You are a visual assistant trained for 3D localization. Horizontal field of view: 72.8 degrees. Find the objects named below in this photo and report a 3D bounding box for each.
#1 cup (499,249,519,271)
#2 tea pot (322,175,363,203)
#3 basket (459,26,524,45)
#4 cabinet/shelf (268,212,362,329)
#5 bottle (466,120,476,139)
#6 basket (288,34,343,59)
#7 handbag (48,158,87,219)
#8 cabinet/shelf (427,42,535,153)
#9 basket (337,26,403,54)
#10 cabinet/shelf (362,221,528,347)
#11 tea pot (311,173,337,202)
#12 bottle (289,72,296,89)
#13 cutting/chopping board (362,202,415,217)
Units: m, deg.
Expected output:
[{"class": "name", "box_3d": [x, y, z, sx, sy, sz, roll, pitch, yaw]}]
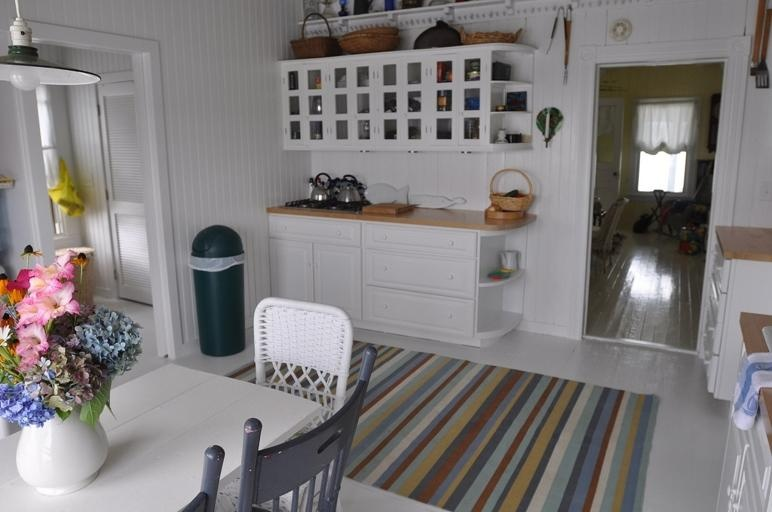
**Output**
[{"class": "cup", "box_3d": [1.159, 0.042, 4.803, 0.124, 0.148, 0.213, 6, 8, 38]}, {"class": "tea pot", "box_3d": [-0.441, -0.685, 5.365, 0.406, 0.283, 0.275, 3, 11, 21]}, {"class": "basket", "box_3d": [0.894, -1.881, 4.507, 0.509, 0.140, 0.174, 2, 12, 10]}, {"class": "cabinet/shelf", "box_3d": [-0.571, 0.075, 4.515, 1.082, 1.005, 0.548, 3, 7, 24]}, {"class": "bottle", "box_3d": [0.753, -1.114, 4.588, 0.127, 0.175, 0.020, 5, 14, 24]}, {"class": "basket", "box_3d": [-0.720, -1.987, 5.138, 0.345, 0.134, 0.278, 5, 13, 31]}, {"class": "handbag", "box_3d": [-3.462, -0.737, 5.648, 0.295, 0.601, 0.133, -7, 14, -29]}, {"class": "cabinet/shelf", "box_3d": [0.812, -1.420, 4.613, 0.918, 0.859, 0.357, 5, 13, 29]}, {"class": "basket", "box_3d": [-0.165, -2.006, 4.925, 0.378, 0.153, 0.364, 1, 6, 0]}, {"class": "cabinet/shelf", "box_3d": [0.569, 0.254, 5.139, 1.919, 1.393, 1.032, 3, 8, 25]}, {"class": "tea pot", "box_3d": [-0.711, -0.715, 5.492, 0.357, 0.338, 0.262, 4, 5, 42]}, {"class": "bottle", "box_3d": [-0.908, -1.716, 5.143, 0.095, 0.167, 0.029, 3, 13, 12]}, {"class": "cutting/chopping board", "box_3d": [0.037, -0.429, 4.914, 0.524, 0.074, 0.405, -2, 11, -8]}]
